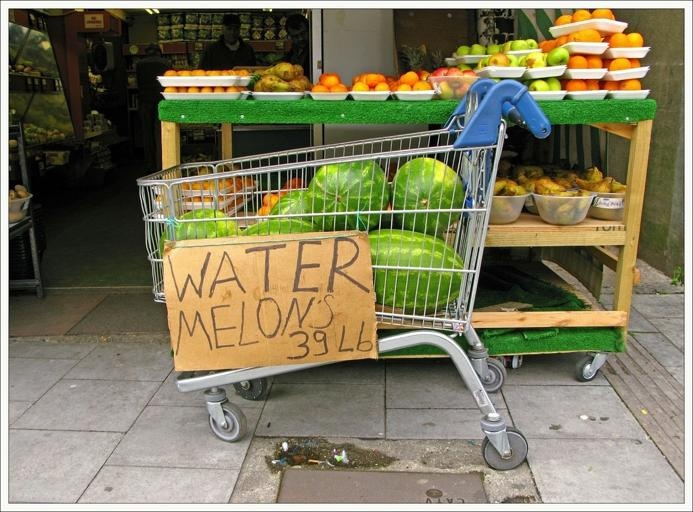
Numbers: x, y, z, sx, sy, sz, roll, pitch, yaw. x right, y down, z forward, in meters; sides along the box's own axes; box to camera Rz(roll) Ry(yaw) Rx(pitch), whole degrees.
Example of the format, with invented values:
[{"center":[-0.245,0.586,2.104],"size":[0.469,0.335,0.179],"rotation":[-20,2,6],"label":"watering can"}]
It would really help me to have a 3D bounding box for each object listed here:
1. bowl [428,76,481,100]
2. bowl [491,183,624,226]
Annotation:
[{"center":[0.637,-1.038,3.213],"size":[0.280,0.110,0.260],"rotation":[-1,6,0],"label":"bowl"},{"center":[1.265,-0.317,3.178],"size":[0.570,0.133,0.379],"rotation":[3,10,19],"label":"bowl"}]
